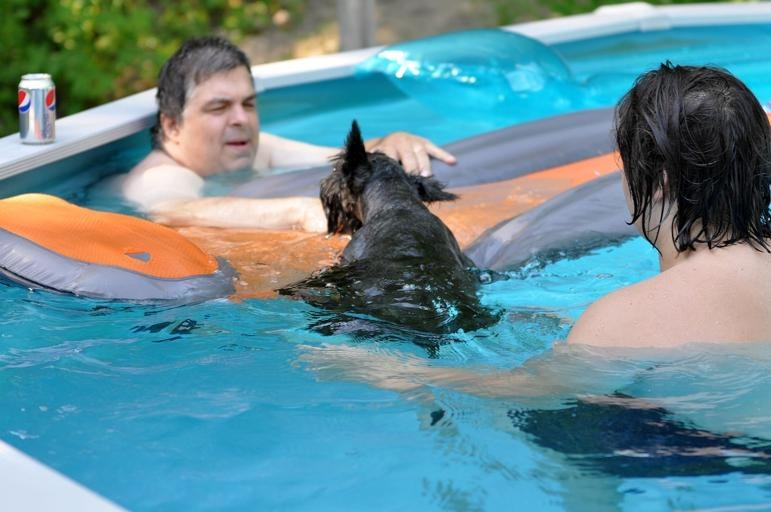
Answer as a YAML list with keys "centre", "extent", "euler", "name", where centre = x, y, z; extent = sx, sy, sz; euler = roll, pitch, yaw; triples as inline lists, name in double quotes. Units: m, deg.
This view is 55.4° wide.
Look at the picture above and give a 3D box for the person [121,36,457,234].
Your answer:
- centre: [-0.933, -0.740, 4.382]
  extent: [2.188, 0.726, 1.382]
  euler: [12, 26, 26]
  name: "person"
